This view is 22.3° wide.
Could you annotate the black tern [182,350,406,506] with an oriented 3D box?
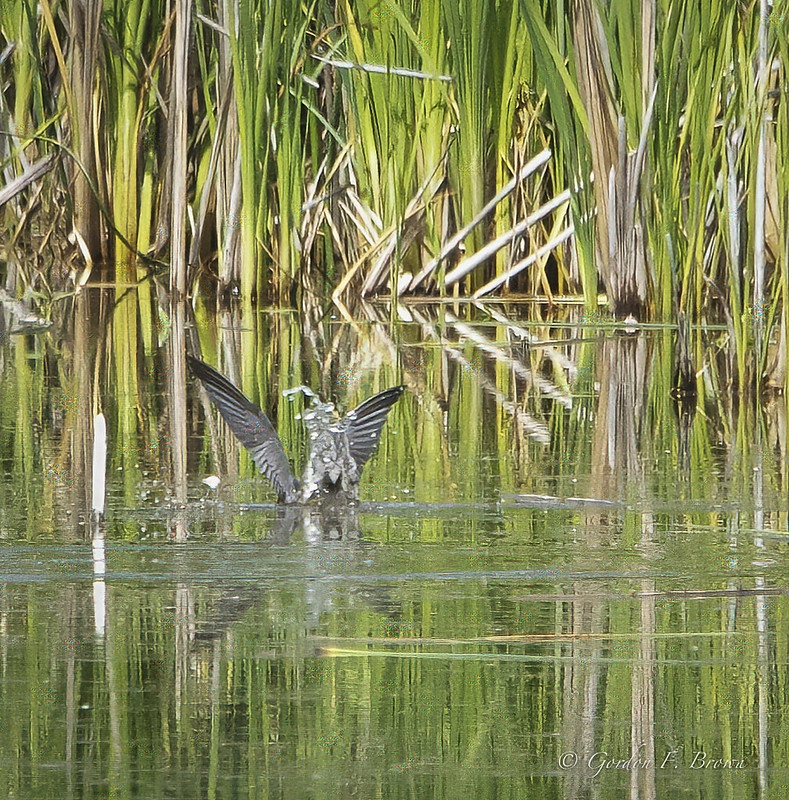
[{"bbox_3d":[-0.139,0.078,3.284,0.344,0.247,0.293,1,79,-20],"label":"black tern"}]
